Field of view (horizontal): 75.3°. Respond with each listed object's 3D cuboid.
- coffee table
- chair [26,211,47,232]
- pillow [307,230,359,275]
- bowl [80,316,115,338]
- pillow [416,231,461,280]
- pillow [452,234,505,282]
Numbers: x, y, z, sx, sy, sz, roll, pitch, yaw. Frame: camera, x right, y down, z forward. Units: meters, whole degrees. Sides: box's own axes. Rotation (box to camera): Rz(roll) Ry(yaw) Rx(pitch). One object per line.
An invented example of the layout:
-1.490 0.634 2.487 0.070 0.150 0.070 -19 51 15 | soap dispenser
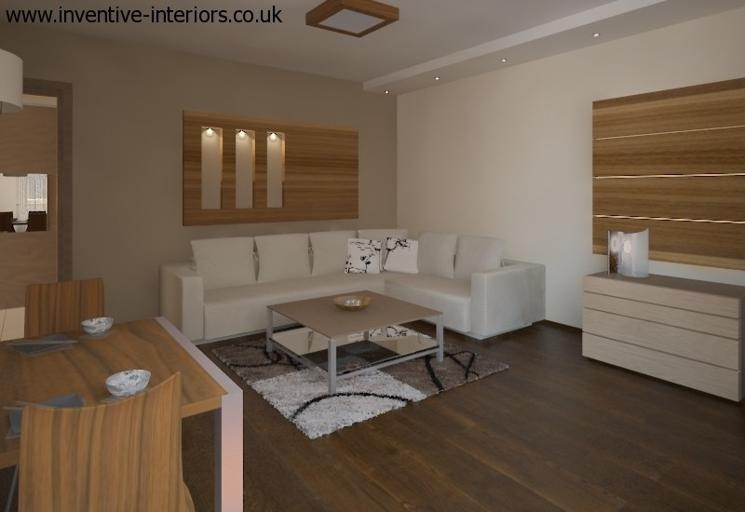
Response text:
-0.280 0.706 4.609 1.040 0.433 1.087 -5 11 -37 | coffee table
-4.378 -0.446 6.276 0.181 0.346 0.254 10 7 44 | chair
-0.541 -0.018 6.443 0.586 0.530 0.197 -2 0 -29 | pillow
-1.735 0.434 3.099 0.149 0.071 0.148 0 4 0 | bowl
0.861 0.023 6.295 0.551 0.511 0.195 8 -1 39 | pillow
1.278 0.035 5.895 0.140 0.535 0.591 9 -2 -35 | pillow
